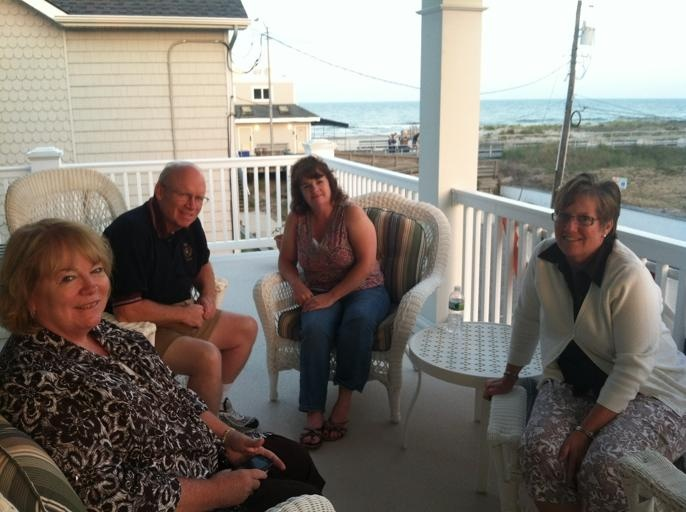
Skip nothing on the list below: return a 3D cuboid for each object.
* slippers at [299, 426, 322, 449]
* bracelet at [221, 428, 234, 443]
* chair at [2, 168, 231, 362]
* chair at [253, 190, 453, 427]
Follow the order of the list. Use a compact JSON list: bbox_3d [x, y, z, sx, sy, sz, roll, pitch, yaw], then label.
[{"bbox_3d":[-0.181,1.060,3.212,0.119,0.086,0.246,1,8,-1],"label":"slippers"},{"bbox_3d":[-0.465,0.714,2.173,0.042,0.018,0.035,-37,-32,26],"label":"bracelet"},{"bbox_3d":[-1.897,-0.162,4.454,1.281,1.806,1.285,15,22,36],"label":"chair"},{"bbox_3d":[0.109,0.265,3.916,1.295,1.486,1.355,4,14,26],"label":"chair"}]
